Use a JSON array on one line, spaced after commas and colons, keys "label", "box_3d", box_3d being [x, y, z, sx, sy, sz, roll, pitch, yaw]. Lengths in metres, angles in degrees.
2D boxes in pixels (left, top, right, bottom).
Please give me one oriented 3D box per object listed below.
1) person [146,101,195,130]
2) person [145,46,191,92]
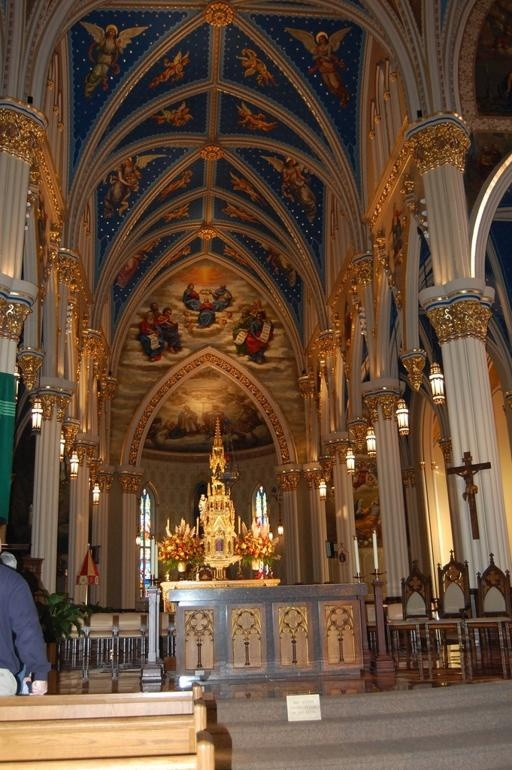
[{"label": "person", "box_3d": [-2.031, -6.634, 16.535, 0.774, 0.468, 1.010, -6, 4, 34]}, {"label": "person", "box_3d": [-1.856, -6.884, 14.722, 0.808, 0.532, 0.866, 2, -20, -19]}]
